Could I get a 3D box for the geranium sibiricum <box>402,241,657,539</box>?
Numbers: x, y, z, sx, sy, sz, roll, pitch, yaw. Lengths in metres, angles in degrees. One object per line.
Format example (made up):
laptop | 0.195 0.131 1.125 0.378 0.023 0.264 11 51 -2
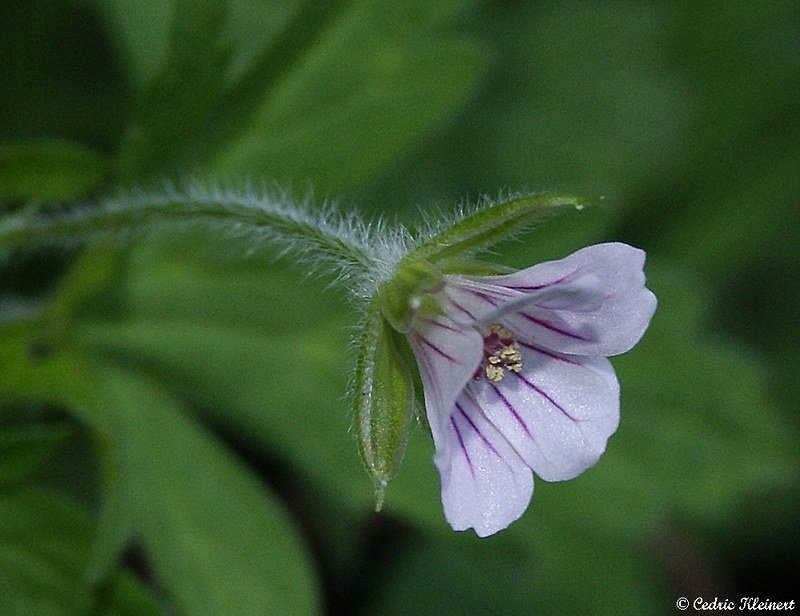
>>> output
geranium sibiricum | 0.352 0.229 2.809 1.025 1.156 0.542 1 -7 11
